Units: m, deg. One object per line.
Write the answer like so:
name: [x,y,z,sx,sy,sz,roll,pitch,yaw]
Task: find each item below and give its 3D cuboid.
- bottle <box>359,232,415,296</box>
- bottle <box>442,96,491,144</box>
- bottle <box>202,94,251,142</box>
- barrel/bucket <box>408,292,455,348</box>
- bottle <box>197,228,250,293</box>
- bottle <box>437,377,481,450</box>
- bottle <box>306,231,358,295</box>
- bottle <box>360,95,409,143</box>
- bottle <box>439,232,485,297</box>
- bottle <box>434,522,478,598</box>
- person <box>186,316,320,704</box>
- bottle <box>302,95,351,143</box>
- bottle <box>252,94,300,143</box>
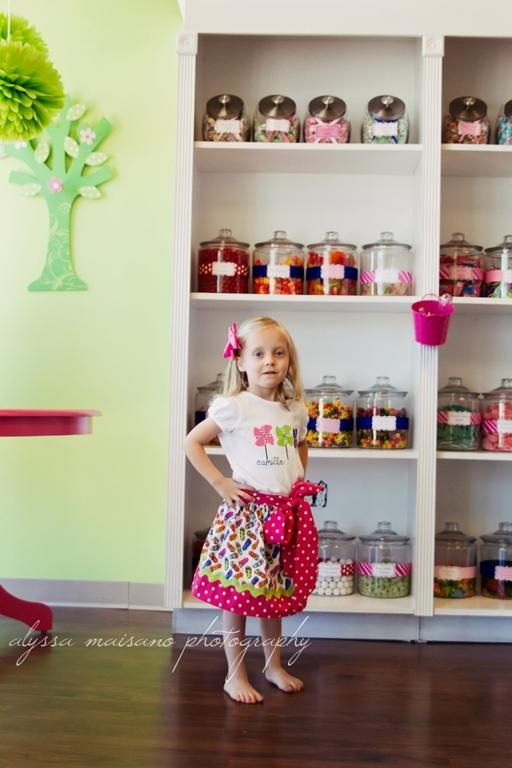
bottle: [0.418,-0.393,2.494,0.223,0.226,0.210,0,-2,-14]
bottle: [0.712,-0.876,2.439,0.172,0.170,0.121,0,3,0]
bottle: [-0.108,-0.862,2.435,0.181,0.157,0.173,-2,8,-6]
barrel/bucket: [0.547,-0.196,2.263,0.169,0.160,0.147,2,0,-4]
bottle: [-0.060,-0.413,2.458,0.212,0.220,0.212,1,3,3]
bottle: [0.669,0.103,2.411,0.137,0.242,0.182,0,3,16]
bottle: [0.248,-0.388,2.401,0.214,0.221,0.209,1,2,12]
bottle: [0.407,-0.865,2.434,0.169,0.153,0.159,-3,43,0]
bottle: [0.673,-0.396,2.407,0.200,0.202,0.188,0,2,-1]
bottle: [0.652,0.581,2.392,0.131,0.225,0.119,0,3,12]
person: [0.020,0.295,1.932,0.391,0.940,0.289,-3,3,-44]
bottle: [0.215,-0.871,2.440,0.173,0.169,0.171,-1,34,0]
bottle: [0.066,-0.872,2.446,0.172,0.158,0.173,1,11,0]
